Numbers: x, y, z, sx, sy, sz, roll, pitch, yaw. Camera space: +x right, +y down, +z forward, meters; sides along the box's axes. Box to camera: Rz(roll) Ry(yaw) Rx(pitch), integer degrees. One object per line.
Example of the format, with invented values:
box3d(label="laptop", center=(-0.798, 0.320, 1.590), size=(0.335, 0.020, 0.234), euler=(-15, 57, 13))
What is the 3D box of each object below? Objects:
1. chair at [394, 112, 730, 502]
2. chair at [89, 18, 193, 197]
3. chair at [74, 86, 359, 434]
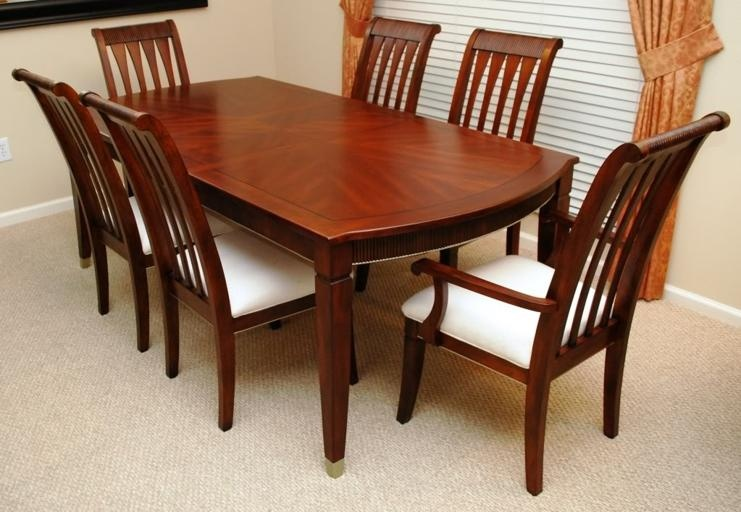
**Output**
box3d(label="chair", center=(0.591, 0.130, 1.998), size=(0.777, 1.261, 0.855), euler=(-12, 26, -21))
box3d(label="chair", center=(-1.150, -0.918, 3.027), size=(0.443, 0.742, 0.541), euler=(-16, 10, -17))
box3d(label="chair", center=(-0.548, 0.017, 2.229), size=(0.706, 1.148, 0.891), euler=(17, 24, 30))
